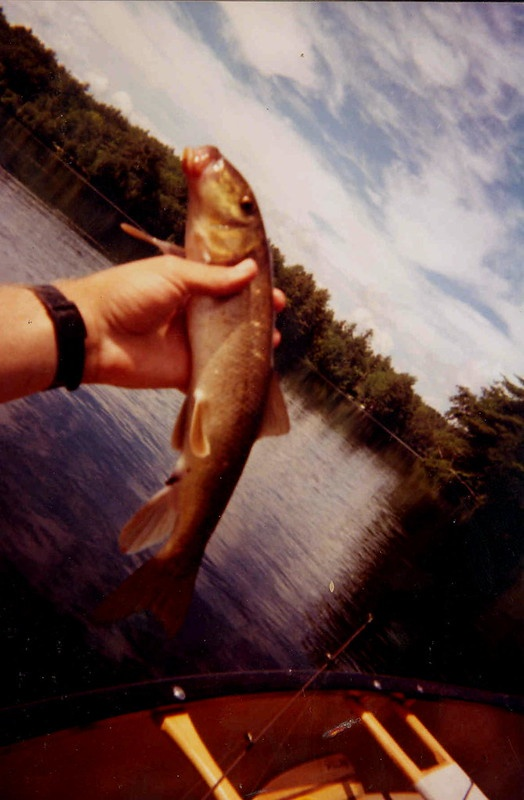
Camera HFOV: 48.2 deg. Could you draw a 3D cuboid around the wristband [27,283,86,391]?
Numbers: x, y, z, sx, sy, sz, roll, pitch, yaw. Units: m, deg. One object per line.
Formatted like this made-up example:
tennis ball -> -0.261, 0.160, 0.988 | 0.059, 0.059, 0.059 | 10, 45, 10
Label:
wristband -> -0.497, -0.165, 1.482 | 0.188, 0.235, 0.200 | -9, 13, -14
